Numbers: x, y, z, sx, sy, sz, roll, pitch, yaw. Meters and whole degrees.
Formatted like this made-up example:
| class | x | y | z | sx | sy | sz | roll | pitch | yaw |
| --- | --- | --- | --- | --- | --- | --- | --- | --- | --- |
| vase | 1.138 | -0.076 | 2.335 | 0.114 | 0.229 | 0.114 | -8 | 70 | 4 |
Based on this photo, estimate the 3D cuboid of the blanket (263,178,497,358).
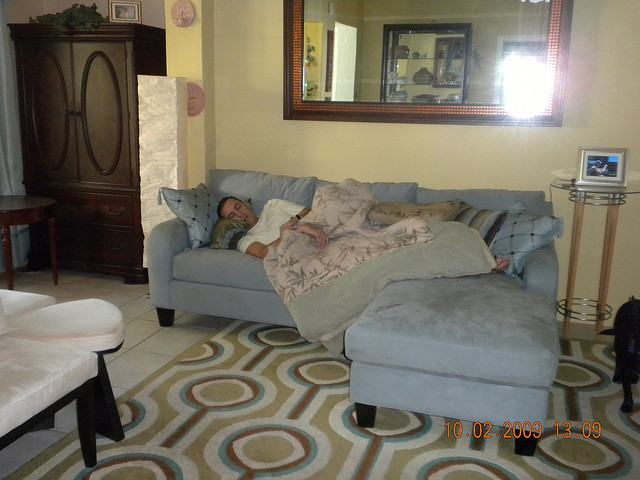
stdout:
| class | x | y | z | sx | sy | sz | roll | pitch | yaw |
| --- | --- | --- | --- | --- | --- | --- | --- | --- | --- |
| blanket | 0.227 | 0.086 | 3.522 | 1.885 | 0.903 | 1.033 | 1 | 16 | -12 |

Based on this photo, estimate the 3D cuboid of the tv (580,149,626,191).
| class | x | y | z | sx | sy | sz | roll | pitch | yaw |
| --- | --- | --- | --- | --- | --- | --- | --- | --- | --- |
| tv | 1.862 | -0.458 | 3.216 | 0.330 | 0.267 | 0.026 | 7 | -1 | 17 |

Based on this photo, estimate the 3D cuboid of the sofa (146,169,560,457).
| class | x | y | z | sx | sy | sz | roll | pitch | yaw |
| --- | --- | --- | --- | --- | --- | --- | --- | --- | --- |
| sofa | 0.549 | 0.183 | 4.078 | 4.042 | 1.222 | 1.886 | 5 | 14 | 14 |

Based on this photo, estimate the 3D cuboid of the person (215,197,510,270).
| class | x | y | z | sx | sy | sz | roll | pitch | yaw |
| --- | --- | --- | --- | --- | --- | --- | --- | --- | --- |
| person | -0.064 | -0.070 | 3.465 | 1.381 | 0.313 | 0.715 | 1 | 12 | 12 |
